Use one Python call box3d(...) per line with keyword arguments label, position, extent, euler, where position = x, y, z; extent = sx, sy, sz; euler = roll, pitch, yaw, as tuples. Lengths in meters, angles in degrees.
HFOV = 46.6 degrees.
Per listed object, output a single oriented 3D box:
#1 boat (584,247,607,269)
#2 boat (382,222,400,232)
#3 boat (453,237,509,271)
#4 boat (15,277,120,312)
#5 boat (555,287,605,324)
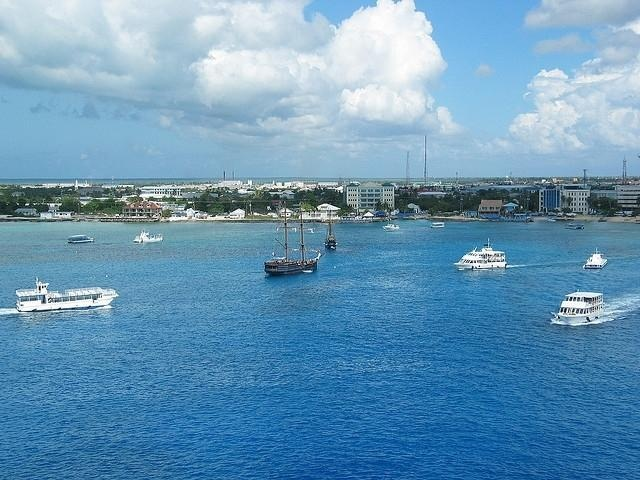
box3d(label="boat", position=(17.819, 1.286, 48.137), extent=(1.199, 1.389, 3.621), euler=(3, 14, 27))
box3d(label="boat", position=(8.677, -1.685, 89.861), extent=(1.215, 0.871, 1.994), euler=(4, 4, 21))
box3d(label="boat", position=(10.939, 1.136, 48.035), extent=(4.114, 1.648, 1.669), euler=(1, -1, -37))
box3d(label="boat", position=(-11.638, 2.607, 35.628), extent=(5.259, 1.668, 1.769), euler=(0, -2, -25))
box3d(label="boat", position=(11.137, 2.809, 31.674), extent=(1.185, 0.800, 2.288), euler=(4, 9, 33))
